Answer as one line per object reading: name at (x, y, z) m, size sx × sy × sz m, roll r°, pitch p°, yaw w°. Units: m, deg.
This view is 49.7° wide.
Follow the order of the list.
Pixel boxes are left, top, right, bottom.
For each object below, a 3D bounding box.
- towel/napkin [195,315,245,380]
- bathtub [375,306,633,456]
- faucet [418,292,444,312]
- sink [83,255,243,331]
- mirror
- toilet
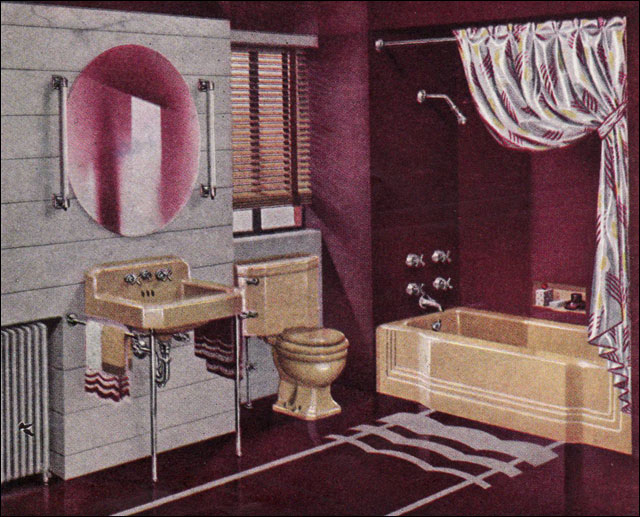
towel/napkin at (-0.517, 0.450, 3.474) m, size 0.387 × 0.395 × 0.054 m, roll 6°, pitch 11°, yaw 32°
bathtub at (1.131, 0.643, 4.072) m, size 1.550 × 0.499 × 0.668 m, roll 8°, pitch 13°, yaw 41°
faucet at (0.731, 0.291, 4.452) m, size 0.146 × 0.078 × 0.117 m, roll 22°, pitch 9°, yaw 30°
sink at (-0.721, 0.187, 3.206) m, size 0.601 × 0.319 × 0.440 m, roll -10°, pitch 14°, yaw -42°
mirror at (-0.886, -0.556, 3.298) m, size 0.014 × 0.885 × 0.746 m, roll 15°, pitch 17°, yaw 42°
toilet at (-0.167, 0.464, 3.992) m, size 0.622 × 0.917 × 0.309 m, roll -2°, pitch 10°, yaw -8°
